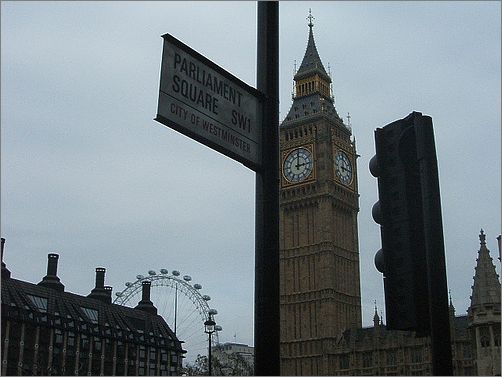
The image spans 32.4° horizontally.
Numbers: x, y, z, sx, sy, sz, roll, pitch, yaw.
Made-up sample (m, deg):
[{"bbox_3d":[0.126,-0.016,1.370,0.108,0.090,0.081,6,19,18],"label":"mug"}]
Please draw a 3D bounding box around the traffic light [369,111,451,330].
[{"bbox_3d":[2.906,0.562,15.971,1.252,3.959,1.109,-6,-23,12],"label":"traffic light"}]

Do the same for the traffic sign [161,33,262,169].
[{"bbox_3d":[-0.720,-1.517,15.750,2.190,2.010,0.467,14,-27,-31],"label":"traffic sign"}]
